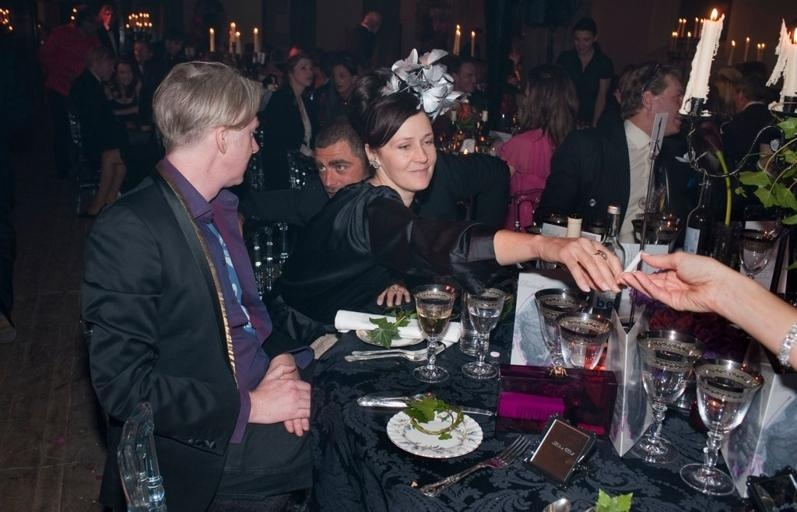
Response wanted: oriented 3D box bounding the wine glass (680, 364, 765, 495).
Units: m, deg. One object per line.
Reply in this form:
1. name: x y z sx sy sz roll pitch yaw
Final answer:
1. wine glass: 1.064 0.567 2.026 0.212 0.434 0.147 2 15 -7

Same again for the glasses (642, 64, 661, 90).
1. glasses: 1.678 -1.190 4.015 0.055 0.171 0.172 11 5 -7

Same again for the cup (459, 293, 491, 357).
1. cup: 0.316 0.286 2.499 0.101 0.368 0.087 -7 32 -5

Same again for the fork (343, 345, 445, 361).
1. fork: -0.018 0.401 2.506 0.333 0.058 0.043 -3 13 -3

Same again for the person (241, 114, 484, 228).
1. person: -0.240 -0.510 3.811 1.121 0.483 0.386 -22 2 12

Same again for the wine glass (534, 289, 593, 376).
1. wine glass: 0.611 0.280 2.244 0.221 0.331 0.221 4 28 8

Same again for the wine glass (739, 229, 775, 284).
1. wine glass: 1.511 0.004 2.571 0.123 0.331 0.115 0 24 21

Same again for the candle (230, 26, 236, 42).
1. candle: -2.014 -2.706 7.439 0.046 0.118 0.173 -1 15 -15

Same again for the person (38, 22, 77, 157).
1. person: -3.908 -1.810 7.059 0.383 1.745 0.964 -4 17 -27

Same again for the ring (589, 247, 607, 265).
1. ring: 0.743 -0.001 2.263 0.039 0.018 0.050 5 40 -22

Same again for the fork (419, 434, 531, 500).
1. fork: 0.251 0.723 2.058 0.327 0.045 0.042 -22 42 -19

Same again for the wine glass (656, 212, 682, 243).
1. wine glass: 1.235 -0.135 2.805 0.129 0.110 0.140 0 -3 1
